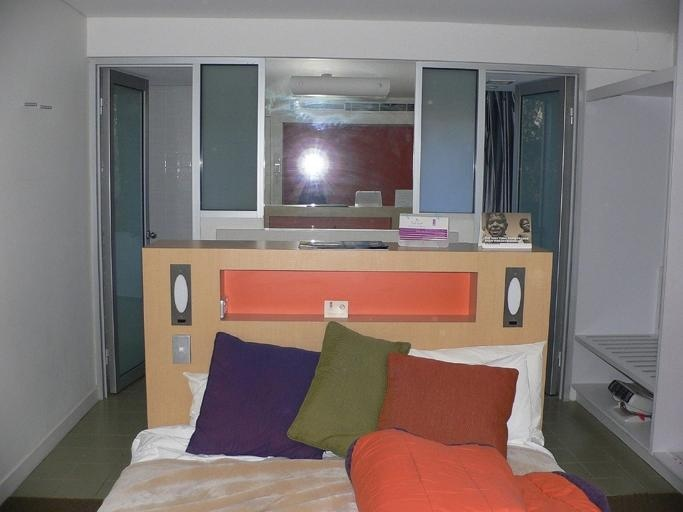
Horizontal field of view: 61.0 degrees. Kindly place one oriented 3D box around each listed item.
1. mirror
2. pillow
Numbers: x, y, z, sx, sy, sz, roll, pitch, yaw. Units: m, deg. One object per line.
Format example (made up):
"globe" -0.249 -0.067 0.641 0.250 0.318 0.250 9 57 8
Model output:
"mirror" -0.017 -1.021 4.964 1.240 1.286 0.664 0 9 -2
"pillow" -0.261 0.732 3.218 1.114 0.630 0.421 2 13 5
